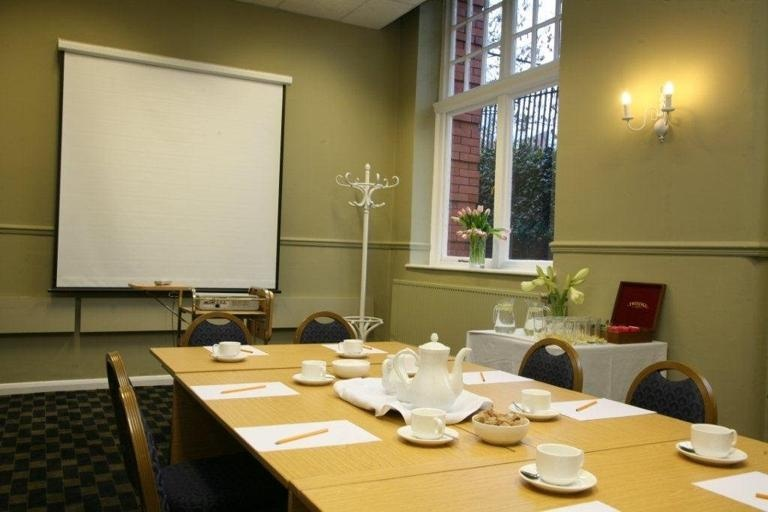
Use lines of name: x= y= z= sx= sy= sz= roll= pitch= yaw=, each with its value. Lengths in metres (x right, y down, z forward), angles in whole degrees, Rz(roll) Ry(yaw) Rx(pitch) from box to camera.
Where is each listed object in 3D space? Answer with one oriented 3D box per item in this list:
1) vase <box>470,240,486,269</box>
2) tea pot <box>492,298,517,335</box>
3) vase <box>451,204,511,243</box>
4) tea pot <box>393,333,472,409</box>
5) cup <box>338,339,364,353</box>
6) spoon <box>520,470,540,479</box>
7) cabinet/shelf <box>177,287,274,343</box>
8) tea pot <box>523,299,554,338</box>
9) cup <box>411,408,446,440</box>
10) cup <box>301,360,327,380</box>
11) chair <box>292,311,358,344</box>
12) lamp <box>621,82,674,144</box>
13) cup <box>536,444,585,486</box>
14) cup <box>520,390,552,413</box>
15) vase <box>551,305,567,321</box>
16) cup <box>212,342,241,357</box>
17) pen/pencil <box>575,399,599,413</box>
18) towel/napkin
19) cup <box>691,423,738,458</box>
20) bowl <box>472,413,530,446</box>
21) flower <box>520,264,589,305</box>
vase: x=1.013 y=-0.054 z=5.613 sx=0.217 sy=0.319 sz=0.142 roll=-5 pitch=10 yaw=-38
tea pot: x=0.985 y=0.483 z=4.367 sx=0.236 sy=0.262 sz=0.182 roll=-5 pitch=-1 yaw=33
vase: x=0.981 y=-0.310 z=5.570 sx=0.461 sy=0.294 sz=0.433 roll=3 pitch=-3 yaw=-17
tea pot: x=0.209 y=0.525 z=2.405 sx=0.349 sy=0.326 sz=0.225 roll=1 pitch=-2 yaw=12
cup: x=-0.211 y=0.563 z=3.400 sx=0.119 sy=0.067 sz=0.085 roll=-1 pitch=-4 yaw=12
spoon: x=0.518 y=0.765 z=1.919 sx=0.022 sy=0.015 sz=0.096 roll=4 pitch=-8 yaw=-13
cabinet/shelf: x=-1.475 y=0.618 z=5.494 sx=0.971 sy=0.665 sz=0.875 roll=2 pitch=1 yaw=3
tea pot: x=1.197 y=0.472 z=4.121 sx=0.183 sy=0.258 sz=0.269 roll=9 pitch=-13 yaw=-17
cup: x=0.174 y=0.658 z=2.144 sx=0.099 sy=0.076 sz=0.129 roll=1 pitch=-1 yaw=-5
cup: x=-0.373 y=0.596 z=2.847 sx=0.082 sy=0.072 sz=0.107 roll=2 pitch=2 yaw=-14
chair: x=-0.466 y=0.540 z=4.140 sx=0.453 sy=0.240 sz=0.295 roll=-1 pitch=7 yaw=-15
lamp: x=1.997 y=-1.078 z=4.006 sx=0.245 sy=0.407 sz=0.415 roll=2 pitch=1 yaw=-30
cup: x=0.637 y=0.752 z=1.941 sx=0.196 sy=0.129 sz=0.154 roll=2 pitch=-5 yaw=-15
cup: x=0.696 y=0.653 z=2.462 sx=0.103 sy=0.076 sz=0.107 roll=-1 pitch=-8 yaw=0
vase: x=1.422 y=0.454 z=4.296 sx=0.136 sy=0.140 sz=0.137 roll=2 pitch=-8 yaw=-11
cup: x=-0.932 y=0.544 z=3.201 sx=0.130 sy=0.055 sz=0.092 roll=-1 pitch=-1 yaw=-10
pen/pencil: x=0.972 y=0.718 z=2.595 sx=0.020 sy=0.019 sz=0.181 roll=-4 pitch=-3 yaw=40
towel/napkin: x=-0.005 y=0.650 z=2.466 sx=0.272 sy=0.062 sz=0.434 roll=2 pitch=-1 yaw=-30
cup: x=1.279 y=0.737 z=2.134 sx=0.174 sy=0.116 sz=0.138 roll=0 pitch=-9 yaw=17
bowl: x=0.479 y=0.699 z=2.224 sx=0.226 sy=0.096 sz=0.225 roll=1 pitch=0 yaw=0
flower: x=1.384 y=0.234 z=4.392 sx=0.398 sy=0.322 sz=0.388 roll=-5 pitch=-1 yaw=-2
